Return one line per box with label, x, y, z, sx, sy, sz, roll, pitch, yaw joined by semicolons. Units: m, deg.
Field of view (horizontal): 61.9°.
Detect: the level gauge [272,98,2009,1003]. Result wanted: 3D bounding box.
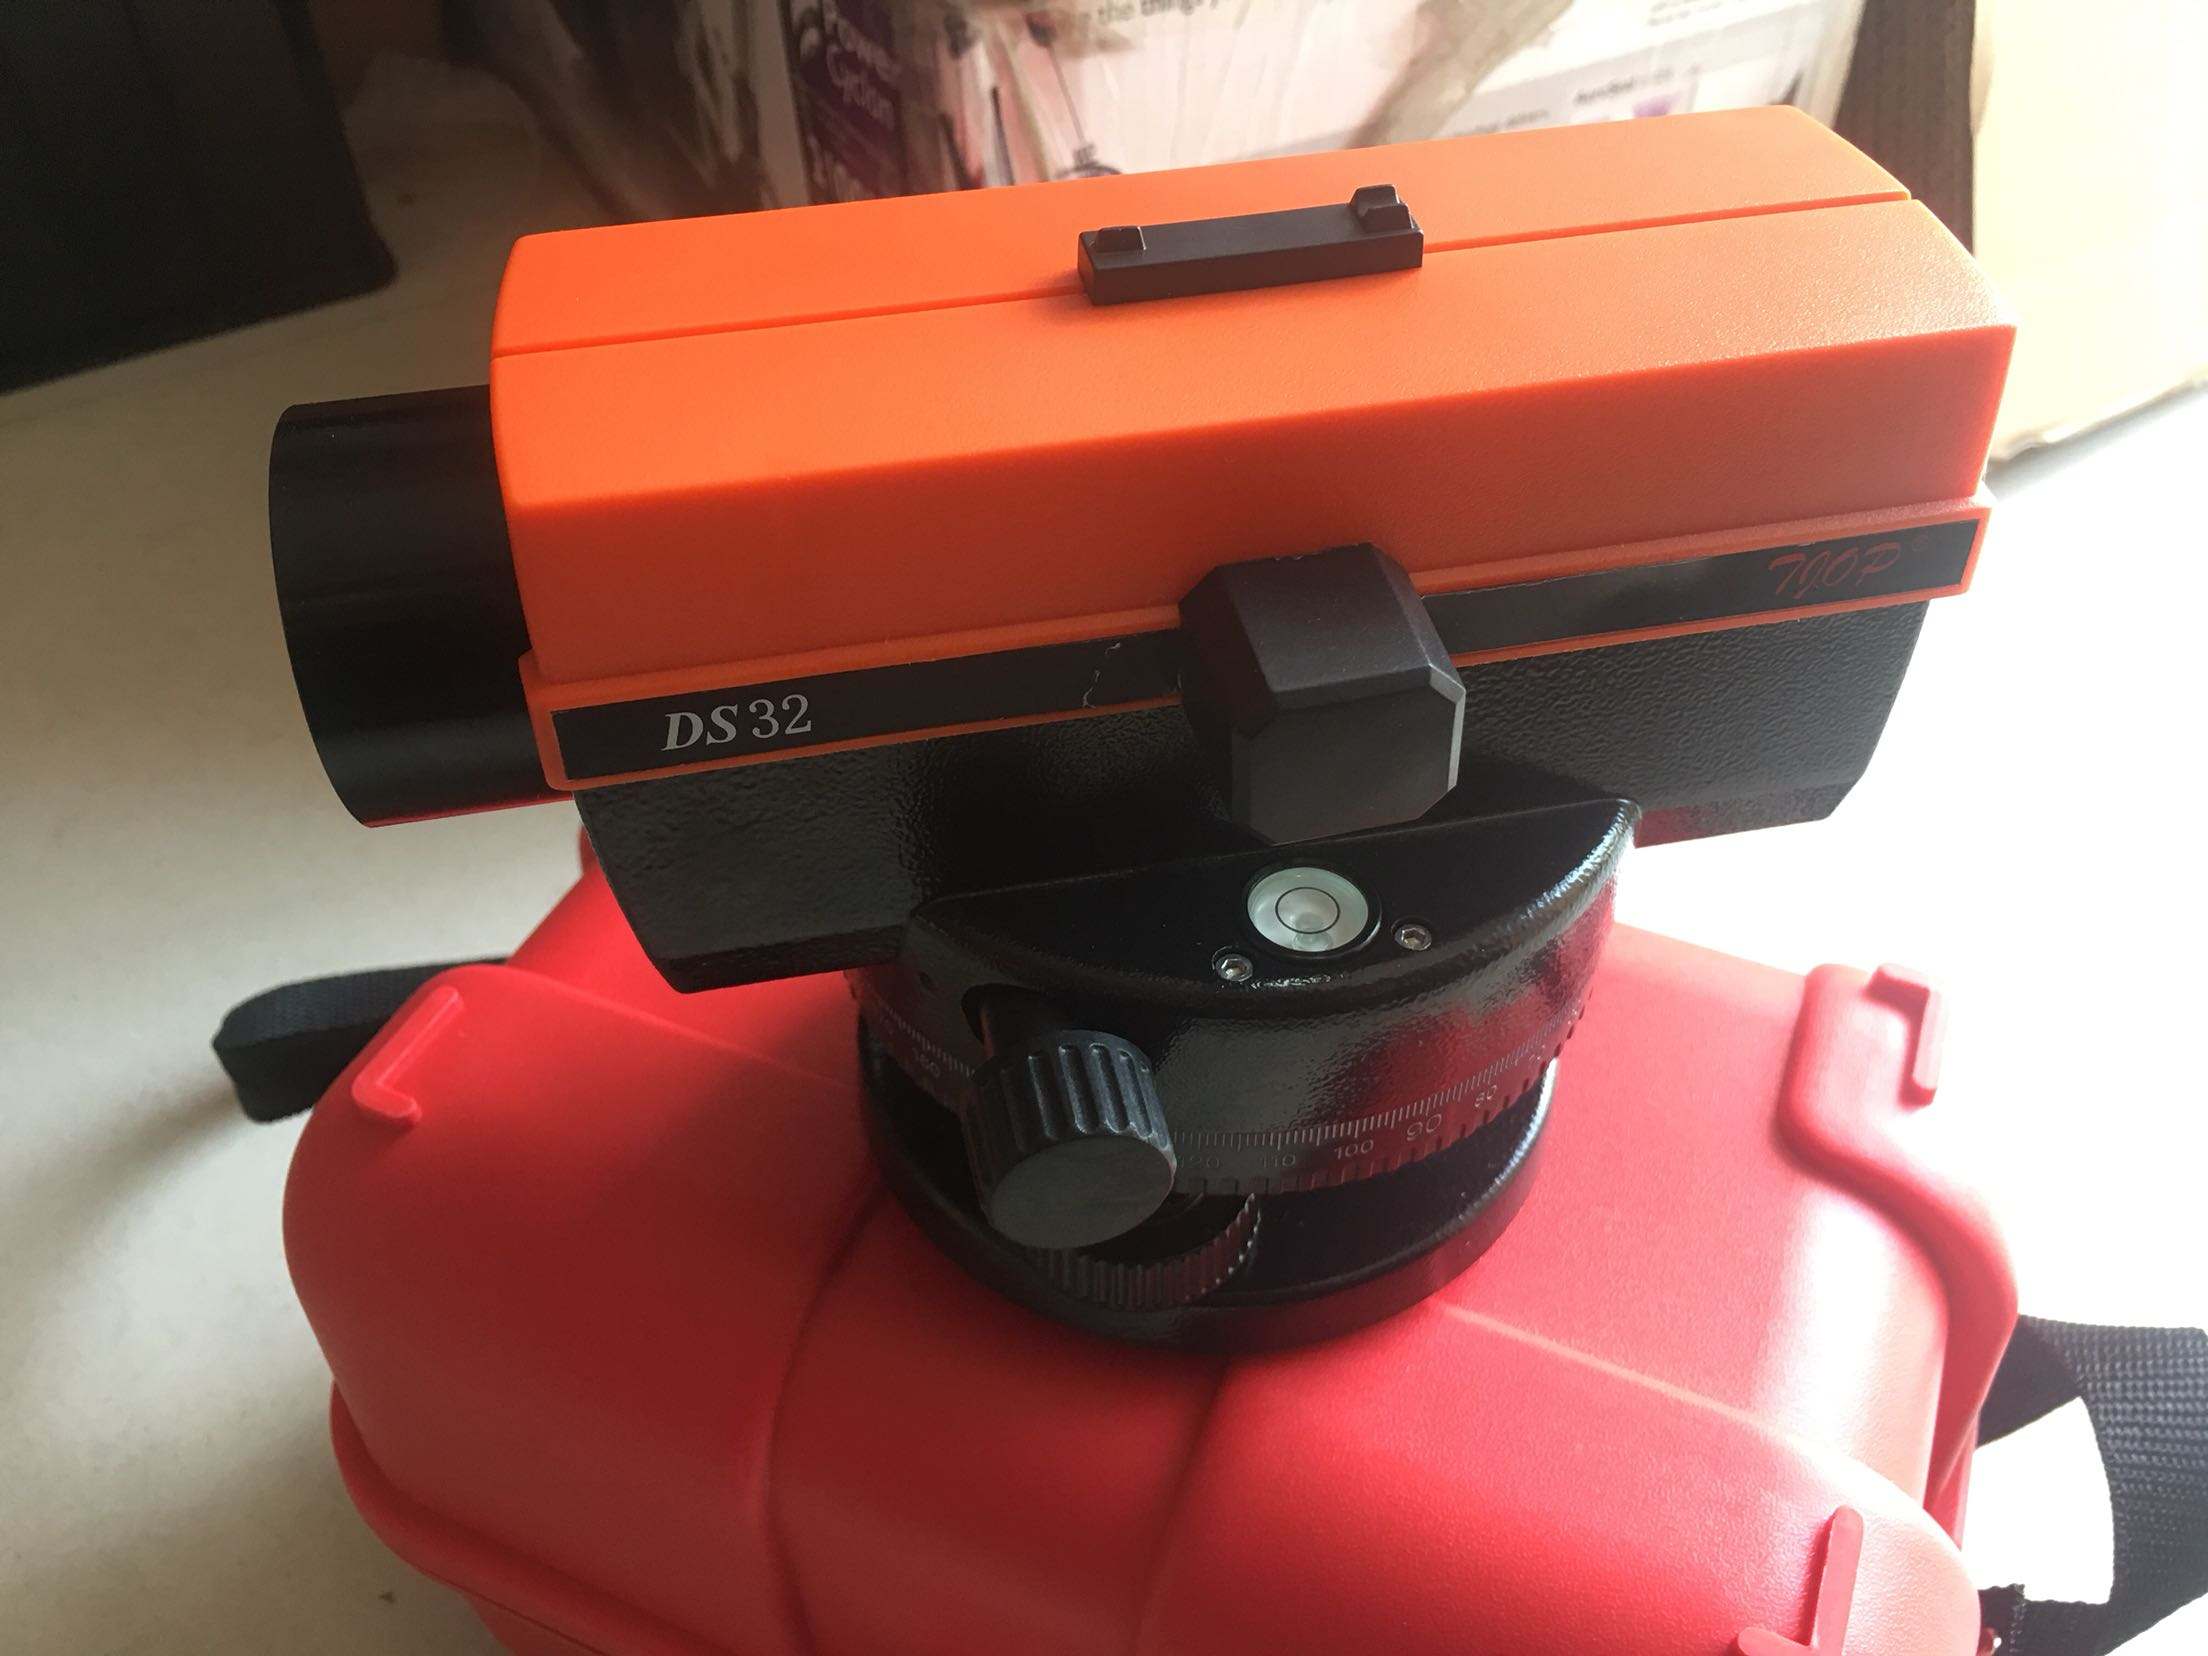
level gauge;0.027;-0.095;0.722;0.670;0.225;0.216;-6;48;-5
